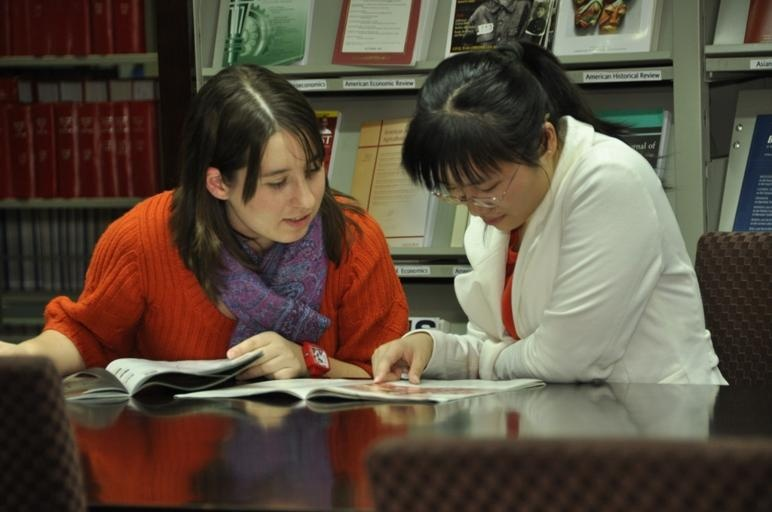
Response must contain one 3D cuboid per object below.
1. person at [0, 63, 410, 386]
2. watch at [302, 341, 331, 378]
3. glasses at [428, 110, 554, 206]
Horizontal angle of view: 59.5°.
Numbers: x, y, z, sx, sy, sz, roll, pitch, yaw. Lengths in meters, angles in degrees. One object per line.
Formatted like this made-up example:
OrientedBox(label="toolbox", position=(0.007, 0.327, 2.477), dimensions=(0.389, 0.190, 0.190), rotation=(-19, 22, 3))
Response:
OrientedBox(label="person", position=(-0.412, -0.006, 1.849), dimensions=(1.156, 0.886, 0.711), rotation=(-1, 0, -7))
OrientedBox(label="watch", position=(-0.159, 0.235, 1.528), dimensions=(0.080, 0.052, 0.083), rotation=(-4, -25, 1))
OrientedBox(label="glasses", position=(0.231, -0.190, 1.455), dimensions=(0.217, 0.066, 0.201), rotation=(-36, 8, -23))
